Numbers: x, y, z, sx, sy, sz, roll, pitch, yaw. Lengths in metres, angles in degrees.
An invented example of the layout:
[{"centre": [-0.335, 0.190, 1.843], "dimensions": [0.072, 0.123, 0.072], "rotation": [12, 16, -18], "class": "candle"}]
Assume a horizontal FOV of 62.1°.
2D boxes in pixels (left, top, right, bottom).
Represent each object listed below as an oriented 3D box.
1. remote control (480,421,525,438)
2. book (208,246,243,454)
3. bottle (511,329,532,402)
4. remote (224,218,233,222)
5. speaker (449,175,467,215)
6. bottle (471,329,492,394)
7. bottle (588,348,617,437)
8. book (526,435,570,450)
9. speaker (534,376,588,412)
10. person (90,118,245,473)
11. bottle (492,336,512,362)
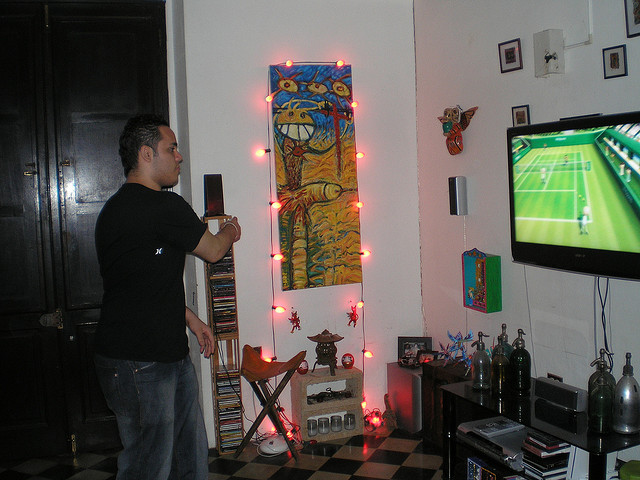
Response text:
[{"centre": [1.139, 1.183, 3.344], "dimensions": [0.288, 0.033, 0.082], "rotation": [-6, 10, -17], "class": "remote control"}, {"centre": [-0.734, 1.098, 4.247], "dimensions": [0.241, 1.168, 0.217], "rotation": [-1, -3, -32], "class": "book"}, {"centre": [1.288, 0.789, 3.417], "dimensions": [0.119, 0.382, 0.256], "rotation": [0, 9, 21], "class": "bottle"}, {"centre": [-0.573, -0.124, 3.310], "dimensions": [0.045, 0.012, 0.050], "rotation": [1, 3, 0], "class": "remote"}, {"centre": [1.069, -0.343, 4.130], "dimensions": [0.133, 0.296, 0.102], "rotation": [-1, 8, 15], "class": "speaker"}, {"centre": [1.081, 0.797, 3.561], "dimensions": [0.123, 0.360, 0.238], "rotation": [0, 9, 17], "class": "bottle"}, {"centre": [1.575, 0.831, 2.973], "dimensions": [0.142, 0.440, 0.226], "rotation": [2, 9, 29], "class": "bottle"}, {"centre": [1.293, 1.135, 2.999], "dimensions": [0.115, 0.030, 0.118], "rotation": [-2, 7, -34], "class": "book"}, {"centre": [1.409, 0.912, 3.148], "dimensions": [0.140, 0.134, 0.301], "rotation": [-10, 12, -40], "class": "speaker"}, {"centre": [-0.855, 0.347, 2.792], "dimensions": [0.616, 1.932, 0.326], "rotation": [-8, 9, -30], "class": "person"}, {"centre": [1.210, 0.726, 3.536], "dimensions": [0.141, 0.177, 0.099], "rotation": [-2, 0, -2], "class": "bottle"}]
